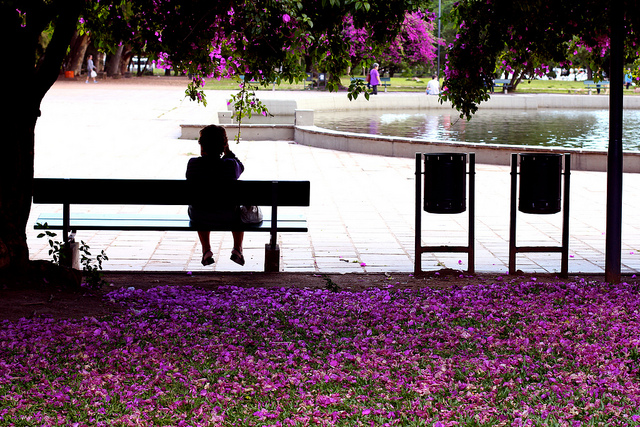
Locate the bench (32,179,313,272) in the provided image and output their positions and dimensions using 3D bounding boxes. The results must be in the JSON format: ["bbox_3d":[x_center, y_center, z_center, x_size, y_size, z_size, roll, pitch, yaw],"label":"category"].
[{"bbox_3d":[-1.787,0.073,8.642,3.219,1.020,1.017,1,7,-17],"label":"bench"}]

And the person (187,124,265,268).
[{"bbox_3d":[-1.237,-0.152,8.697,1.106,1.740,0.977,3,6,8],"label":"person"}]

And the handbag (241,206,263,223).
[{"bbox_3d":[-0.793,0.019,8.386,0.236,0.228,0.149,-3,7,-7],"label":"handbag"}]

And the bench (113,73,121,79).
[{"bbox_3d":[-16.416,-11.069,57.022,0.678,0.287,0.670,0,4,-5],"label":"bench"}]

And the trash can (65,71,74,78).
[{"bbox_3d":[-19.376,-10.698,54.474,0.727,0.521,0.716,0,4,-4],"label":"trash can"}]
